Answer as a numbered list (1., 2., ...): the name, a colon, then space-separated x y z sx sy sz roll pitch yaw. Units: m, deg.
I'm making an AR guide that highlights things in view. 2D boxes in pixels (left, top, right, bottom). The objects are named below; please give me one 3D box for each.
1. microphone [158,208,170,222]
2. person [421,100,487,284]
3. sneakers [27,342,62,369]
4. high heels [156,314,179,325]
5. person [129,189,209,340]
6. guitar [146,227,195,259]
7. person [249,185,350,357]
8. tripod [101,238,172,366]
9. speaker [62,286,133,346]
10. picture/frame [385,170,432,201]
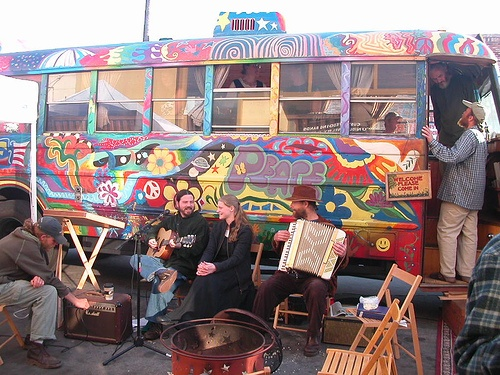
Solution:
1. microphone: -1.212 0.373 6.605 0.077 0.077 0.269 21 30 19
2. person: 2.803 0.015 6.559 0.798 2.488 0.894 6 -3 -31
3. sneakers: -2.280 1.834 5.191 0.384 0.261 0.143 3 4 20
4. high heels: -1.005 1.595 5.713 0.251 0.112 0.112 8 -9 -3
5. person: -0.994 1.096 6.359 0.972 1.989 0.958 2 11 -32
6. guitar: -1.027 0.715 6.524 0.771 0.120 0.402 -12 6 7
7. person: 0.561 0.959 5.912 1.218 1.909 1.067 3 -3 -3
8. tripod: -1.231 1.307 5.493 0.696 1.337 0.837 2 4 28
9. speaker: -1.886 1.588 5.890 0.757 0.577 0.480 4 9 8
10. picture/frame: 2.076 -0.033 6.171 0.571 0.418 0.144 2 4 -2
